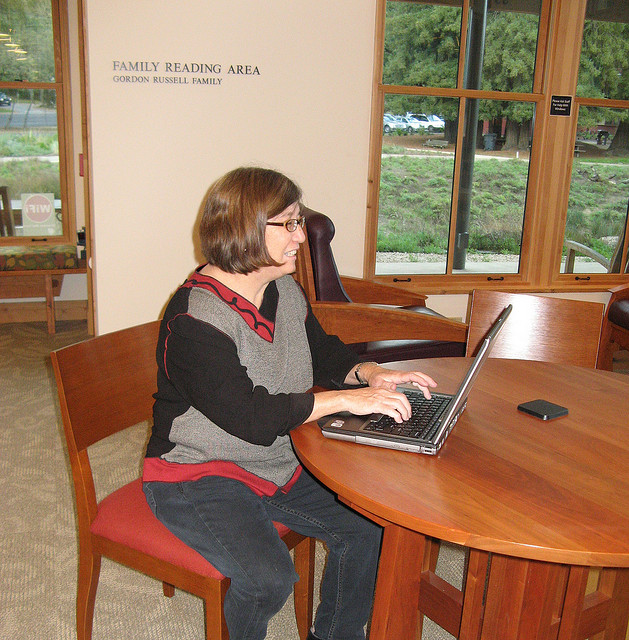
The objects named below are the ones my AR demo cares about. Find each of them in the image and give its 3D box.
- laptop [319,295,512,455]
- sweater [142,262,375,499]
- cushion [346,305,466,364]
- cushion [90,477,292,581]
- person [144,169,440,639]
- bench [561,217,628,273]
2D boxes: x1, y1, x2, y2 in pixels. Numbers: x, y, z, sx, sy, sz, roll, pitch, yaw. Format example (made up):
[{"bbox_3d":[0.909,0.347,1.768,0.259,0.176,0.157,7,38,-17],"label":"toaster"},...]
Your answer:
[{"bbox_3d":[0.224,0.118,1.145,0.337,0.202,0.376,5,9,30],"label":"laptop"},{"bbox_3d":[-0.129,0.157,1.335,0.475,0.545,0.503,13,14,39],"label":"sweater"},{"bbox_3d":[0.411,0.065,2.519,0.274,0.294,0.223,-3,16,-7],"label":"cushion"},{"bbox_3d":[-0.358,0.446,1.162,0.222,0.051,0.207,23,21,25],"label":"cushion"},{"bbox_3d":[0.013,0.129,1.896,1.057,1.709,0.824,0,3,14],"label":"person"},{"bbox_3d":[2.263,-0.573,4.414,0.563,0.416,0.062,0,14,-16],"label":"bench"}]
